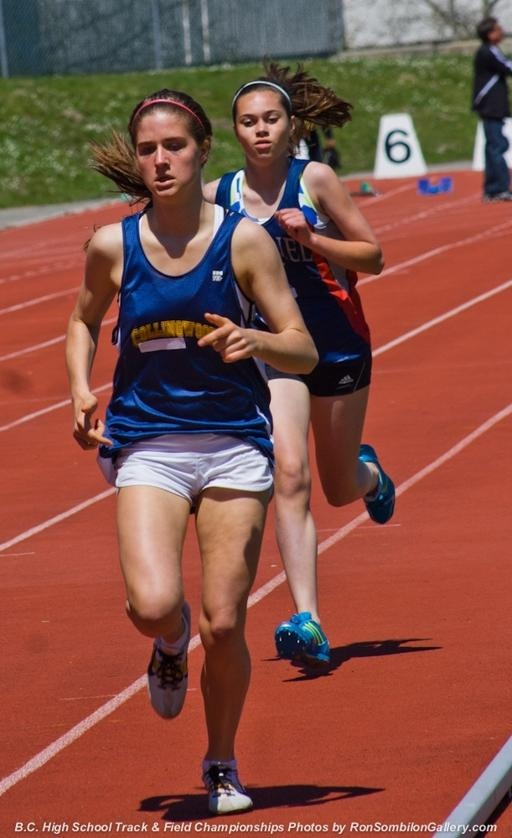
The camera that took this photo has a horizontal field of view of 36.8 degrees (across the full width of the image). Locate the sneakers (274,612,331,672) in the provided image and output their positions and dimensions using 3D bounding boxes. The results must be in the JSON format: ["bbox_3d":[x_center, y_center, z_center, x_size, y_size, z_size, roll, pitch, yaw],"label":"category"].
[{"bbox_3d":[0.130,0.630,2.179,0.088,0.237,0.120,-3,56,19],"label":"sneakers"}]

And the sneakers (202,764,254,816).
[{"bbox_3d":[-0.059,0.712,1.490,0.088,0.128,0.080,-5,3,3],"label":"sneakers"}]

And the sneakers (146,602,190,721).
[{"bbox_3d":[-0.186,0.536,1.679,0.088,0.252,0.102,0,14,-4],"label":"sneakers"}]

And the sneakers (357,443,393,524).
[{"bbox_3d":[0.567,0.309,3.449,0.149,0.404,0.178,1,34,23],"label":"sneakers"}]

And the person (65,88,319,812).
[{"bbox_3d":[-0.152,0.066,1.524,0.541,1.078,0.470,-5,3,12],"label":"person"}]
